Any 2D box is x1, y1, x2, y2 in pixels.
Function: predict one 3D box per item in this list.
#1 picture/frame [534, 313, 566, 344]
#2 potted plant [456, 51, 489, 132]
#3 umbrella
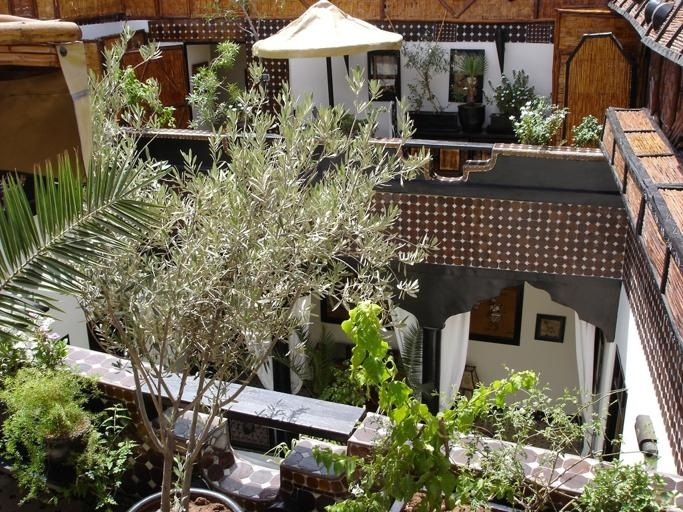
[{"bbox_3d":[4.424,1.502,10.762,0.545,0.635,0.046,10,26,19],"label":"picture/frame"},{"bbox_3d":[2.959,-3.702,11.647,0.665,1.738,0.641,3,15,7],"label":"potted plant"},{"bbox_3d":[-0.152,-3.572,9.263,1.985,1.652,2.164,-4,31,3],"label":"umbrella"}]
